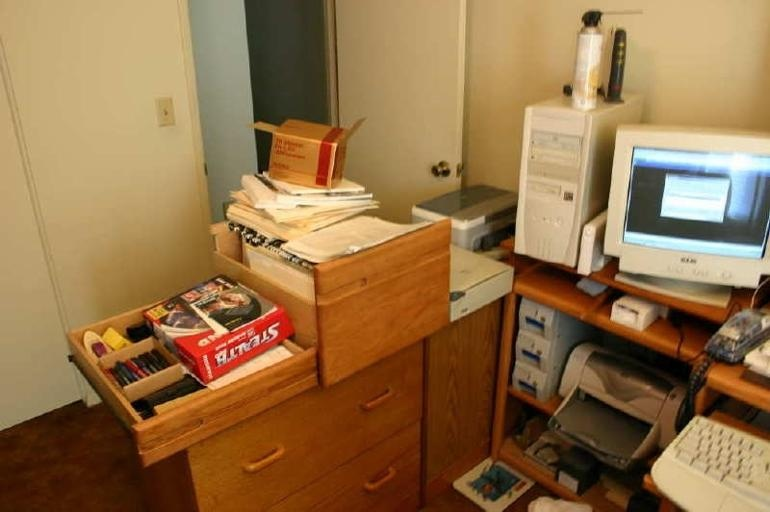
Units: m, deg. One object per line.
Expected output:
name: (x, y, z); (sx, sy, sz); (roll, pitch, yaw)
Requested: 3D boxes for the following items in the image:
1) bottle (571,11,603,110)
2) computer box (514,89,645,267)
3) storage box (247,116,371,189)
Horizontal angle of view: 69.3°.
bottle: (0.807, -0.768, 2.177); (0.164, 0.344, 0.174); (-1, 22, 0)
computer box: (0.780, -0.380, 2.337); (0.409, 0.727, 0.323); (19, 29, 37)
storage box: (-0.316, -0.398, 2.149); (0.397, 0.238, 0.156); (12, 17, 13)
